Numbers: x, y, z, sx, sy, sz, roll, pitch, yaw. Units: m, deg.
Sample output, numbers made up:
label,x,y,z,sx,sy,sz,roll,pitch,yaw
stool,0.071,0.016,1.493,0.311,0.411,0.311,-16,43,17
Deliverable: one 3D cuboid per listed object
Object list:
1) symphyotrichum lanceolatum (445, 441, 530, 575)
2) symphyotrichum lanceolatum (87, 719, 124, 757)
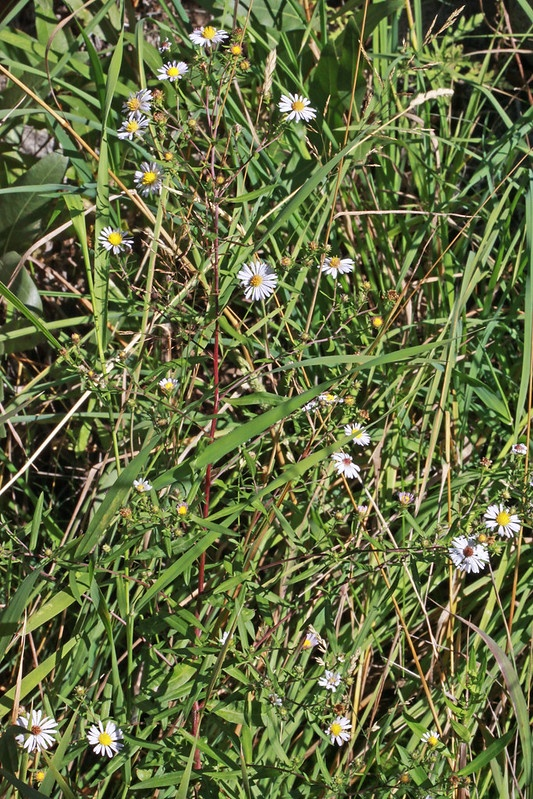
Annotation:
label,x,y,z,sx,sy,sz,roll,pitch,yaw
symphyotrichum lanceolatum,0.315,0.163,1.024,0.085,0.043,0.260,26,40,16
symphyotrichum lanceolatum,-0.208,0.439,0.935,0.053,0.015,0.053,10,55,-40
